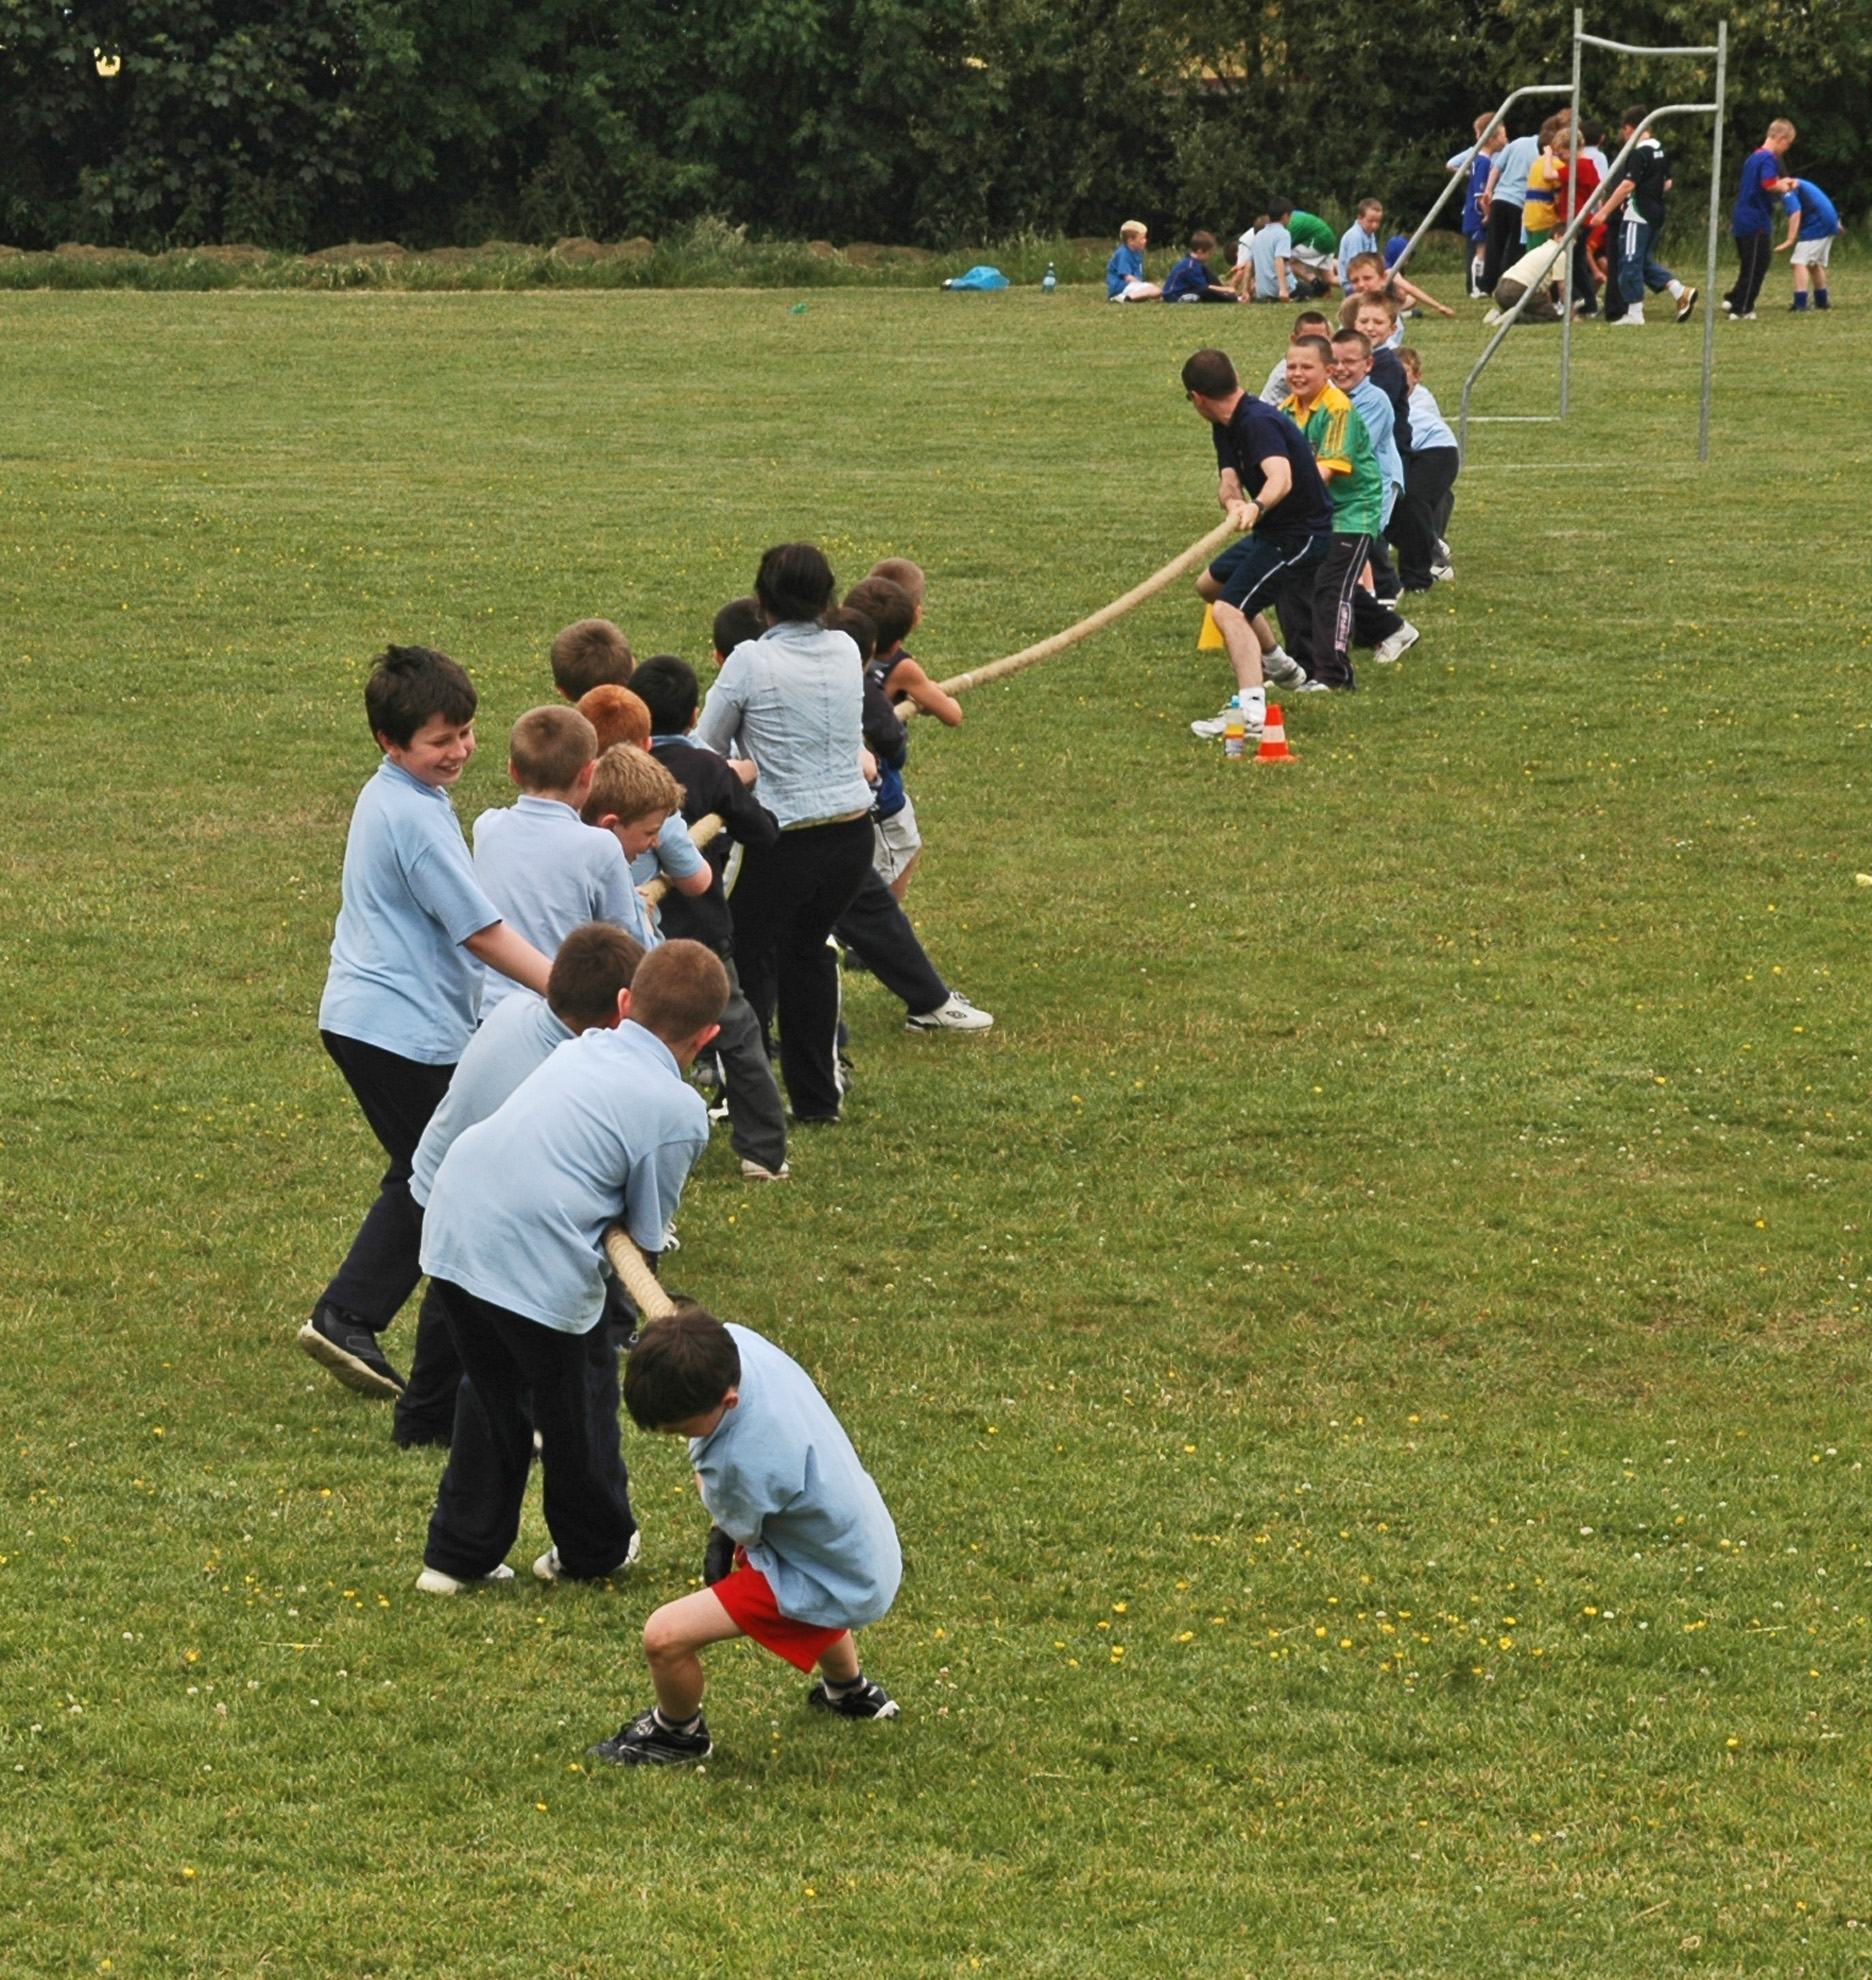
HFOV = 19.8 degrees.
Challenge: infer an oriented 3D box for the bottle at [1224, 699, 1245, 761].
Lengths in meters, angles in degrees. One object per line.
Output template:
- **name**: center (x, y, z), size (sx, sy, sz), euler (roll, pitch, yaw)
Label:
- **bottle**: center (1.420, -1.246, 25.588), size (0.077, 0.257, 0.202), euler (-5, 10, -28)

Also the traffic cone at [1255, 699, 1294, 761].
- **traffic cone**: center (1.635, -1.235, 25.598), size (0.208, 0.307, 0.216), euler (-1, 8, 8)

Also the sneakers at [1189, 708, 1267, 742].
- **sneakers**: center (1.400, -1.268, 25.700), size (0.355, 0.179, 0.134), euler (9, 17, 42)

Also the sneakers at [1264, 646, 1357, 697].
- **sneakers**: center (1.858, -1.607, 26.697), size (0.431, 0.224, 0.259), euler (1, 10, 2)

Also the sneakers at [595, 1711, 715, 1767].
- **sneakers**: center (-0.948, 2.560, 18.377), size (0.360, 0.196, 0.148), euler (4, 2, -5)

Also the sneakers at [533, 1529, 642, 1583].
- **sneakers**: center (-1.215, 1.991, 19.027), size (0.426, 0.218, 0.157), euler (2, 3, -5)

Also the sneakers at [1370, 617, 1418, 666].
- **sneakers**: center (2.331, -1.727, 27.151), size (0.119, 0.139, 0.316), euler (-12, 36, 48)

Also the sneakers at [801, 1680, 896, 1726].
- **sneakers**: center (-0.310, 2.417, 18.488), size (0.291, 0.153, 0.127), euler (2, 25, 4)

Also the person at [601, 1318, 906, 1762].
- **person**: center (-0.665, 1.941, 18.444), size (0.867, 1.629, 0.884), euler (9, 20, 22)

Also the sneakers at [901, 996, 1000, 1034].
- **sneakers**: center (0.072, 0.088, 22.415), size (0.364, 0.191, 0.146), euler (0, 5, 2)
